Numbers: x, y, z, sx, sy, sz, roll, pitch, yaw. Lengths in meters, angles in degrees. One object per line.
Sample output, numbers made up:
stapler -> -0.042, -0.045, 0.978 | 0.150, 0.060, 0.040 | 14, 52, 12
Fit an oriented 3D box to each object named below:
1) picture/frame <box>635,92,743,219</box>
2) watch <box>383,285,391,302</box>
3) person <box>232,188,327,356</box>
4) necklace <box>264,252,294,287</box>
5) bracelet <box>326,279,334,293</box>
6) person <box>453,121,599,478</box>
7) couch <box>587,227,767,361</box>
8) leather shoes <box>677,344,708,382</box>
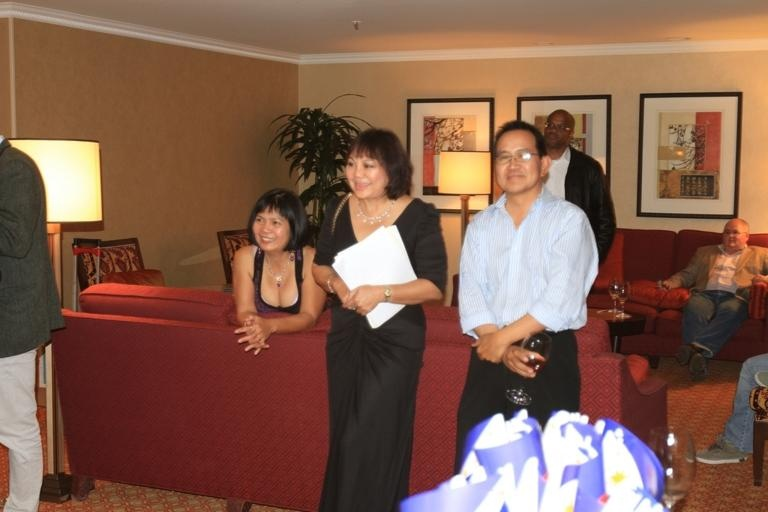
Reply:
picture/frame -> 3.533, -1.189, 6.577 | 1.410, 1.921, 0.125 | 1, 5, 18
watch -> 0.017, 0.157, 2.398 | 0.036, 0.060, 0.055 | 0, 4, -3
person -> -0.549, 0.118, 2.871 | 0.448, 0.794, 0.778 | 2, 21, 1
necklace -> -0.525, 0.053, 2.912 | 0.131, 0.183, 0.058 | 3, 8, 9
bracelet -> -0.235, 0.130, 2.516 | 0.020, 0.052, 0.039 | -9, 10, -39
person -> 0.509, 0.123, 2.188 | 0.550, 1.259, 0.703 | 3, 11, 20
couch -> 3.055, 0.298, 6.047 | 2.187, 1.540, 1.267 | 0, -2, 29
leather shoes -> 2.854, 0.983, 5.337 | 0.194, 0.408, 0.195 | -26, -32, 32
